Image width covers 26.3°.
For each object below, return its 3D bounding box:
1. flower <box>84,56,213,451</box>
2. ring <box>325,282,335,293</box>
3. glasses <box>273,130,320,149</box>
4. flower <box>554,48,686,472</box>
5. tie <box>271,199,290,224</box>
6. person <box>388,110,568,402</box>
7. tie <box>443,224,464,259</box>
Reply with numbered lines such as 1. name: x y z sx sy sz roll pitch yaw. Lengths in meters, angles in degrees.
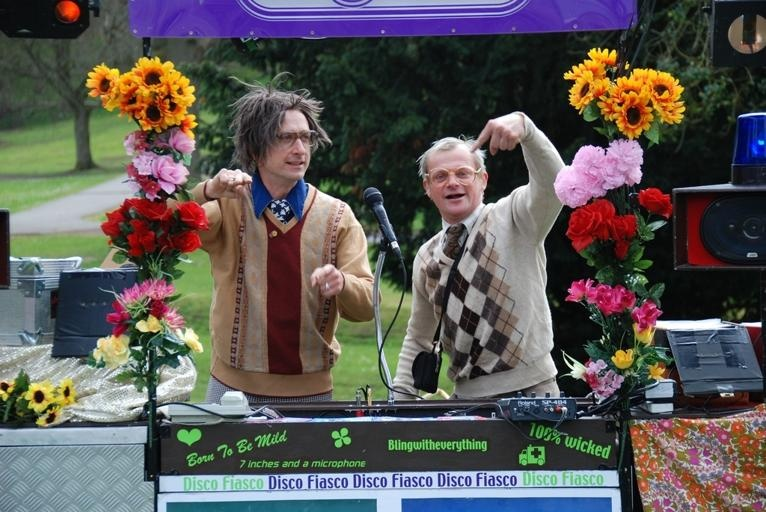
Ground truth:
1. flower: -1.573 -0.022 11.160 0.774 2.642 0.397 -3 6 -8
2. ring: -0.361 0.229 11.356 0.053 0.066 0.021 -7 10 8
3. glasses: -0.585 -0.827 11.705 0.140 0.115 0.363 3 7 39
4. flower: 1.621 0.005 11.192 0.864 2.843 0.508 -1 6 6
5. tie: -0.719 -0.311 11.718 0.165 0.160 0.039 -2 -4 -2
6. person: 0.692 0.020 11.597 1.213 2.040 0.650 -1 6 12
7. tie: 0.521 -0.095 11.744 0.182 0.228 0.086 -9 -21 36
